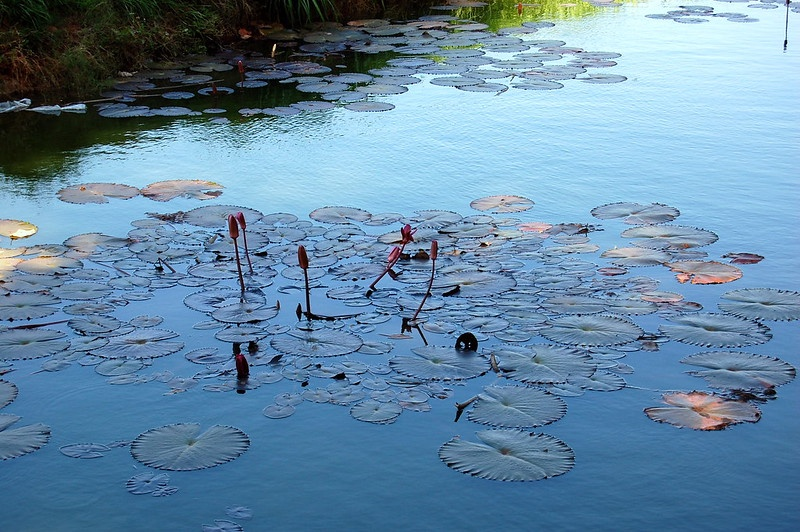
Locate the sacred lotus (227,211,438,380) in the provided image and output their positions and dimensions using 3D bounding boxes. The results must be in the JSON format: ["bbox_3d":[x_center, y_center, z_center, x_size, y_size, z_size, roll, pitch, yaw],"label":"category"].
[{"bbox_3d":[-0.487,0.087,6.373,1.644,1.057,1.769,-3,21,0],"label":"sacred lotus"}]
